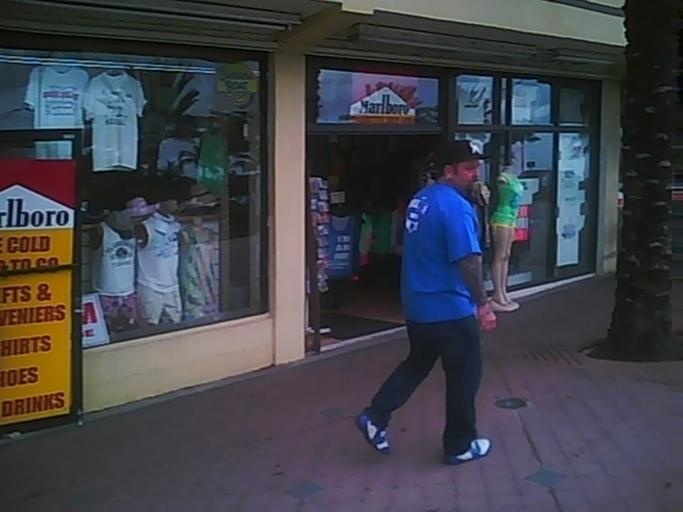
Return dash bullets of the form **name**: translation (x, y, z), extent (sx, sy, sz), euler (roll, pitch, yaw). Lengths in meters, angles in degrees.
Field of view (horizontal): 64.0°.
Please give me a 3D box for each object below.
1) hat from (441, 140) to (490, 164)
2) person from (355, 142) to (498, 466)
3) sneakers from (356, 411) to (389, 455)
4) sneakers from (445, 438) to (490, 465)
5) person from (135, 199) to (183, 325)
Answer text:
- **hat**: translation (0.923, -0.817, 4.316), extent (0.476, 0.183, 0.410), euler (-5, 8, 9)
- **person**: translation (0.696, 0.534, 4.176), extent (0.893, 2.131, 0.433), euler (2, 8, 16)
- **sneakers**: translation (0.237, 1.356, 4.292), extent (0.166, 0.364, 0.188), euler (-30, 13, 23)
- **sneakers**: translation (0.983, 1.490, 4.247), extent (0.304, 0.112, 0.192), euler (-25, 12, -28)
- **person**: translation (-1.926, 0.052, 5.787), extent (0.493, 1.267, 0.264), euler (-5, 9, -28)
